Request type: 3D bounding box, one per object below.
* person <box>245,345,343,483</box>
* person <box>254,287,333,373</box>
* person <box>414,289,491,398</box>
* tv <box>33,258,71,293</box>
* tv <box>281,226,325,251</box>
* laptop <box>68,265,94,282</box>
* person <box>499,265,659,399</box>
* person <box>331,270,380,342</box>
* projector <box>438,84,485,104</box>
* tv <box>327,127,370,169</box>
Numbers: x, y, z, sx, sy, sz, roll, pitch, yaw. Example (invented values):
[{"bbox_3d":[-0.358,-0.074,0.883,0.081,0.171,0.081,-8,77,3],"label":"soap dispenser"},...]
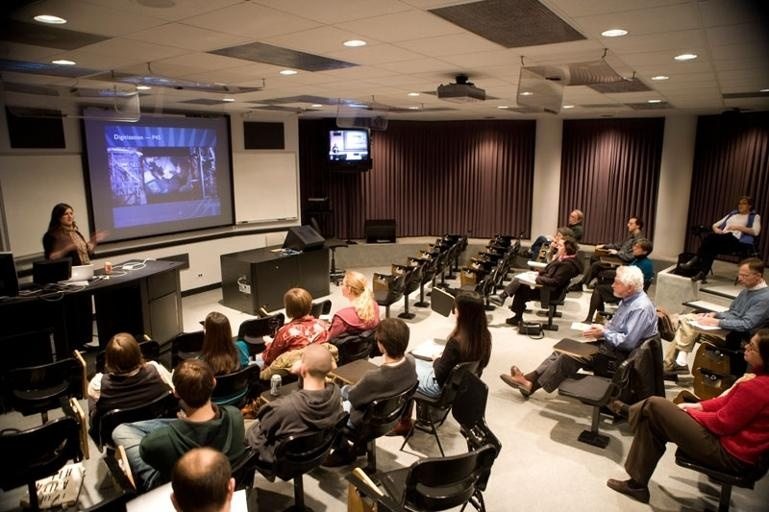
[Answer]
[{"bbox_3d":[-0.800,1.397,4.385,0.881,1.208,0.470,-3,11,-16],"label":"person"},{"bbox_3d":[-1.104,0.983,5.930,0.994,1.019,0.867,-13,-7,18],"label":"person"},{"bbox_3d":[0.754,0.972,5.279,0.795,1.144,0.557,1,11,8],"label":"person"},{"bbox_3d":[-4.440,0.265,6.462,0.485,0.362,0.163,-1,6,-35],"label":"tv"},{"bbox_3d":[-1.704,-0.363,9.779,0.616,0.389,0.587,6,9,38],"label":"tv"},{"bbox_3d":[-4.228,0.237,6.778,0.296,0.178,0.200,-1,26,-35],"label":"laptop"},{"bbox_3d":[2.422,0.962,6.133,1.977,1.483,0.868,-5,-4,26],"label":"person"},{"bbox_3d":[-0.408,0.715,6.790,0.655,0.863,0.639,-13,24,-38],"label":"person"},{"bbox_3d":[1.001,-2.174,6.490,0.329,0.143,0.464,4,7,34],"label":"projector"},{"bbox_3d":[-0.776,-2.665,12.076,1.169,0.989,0.603,4,11,16],"label":"tv"}]
